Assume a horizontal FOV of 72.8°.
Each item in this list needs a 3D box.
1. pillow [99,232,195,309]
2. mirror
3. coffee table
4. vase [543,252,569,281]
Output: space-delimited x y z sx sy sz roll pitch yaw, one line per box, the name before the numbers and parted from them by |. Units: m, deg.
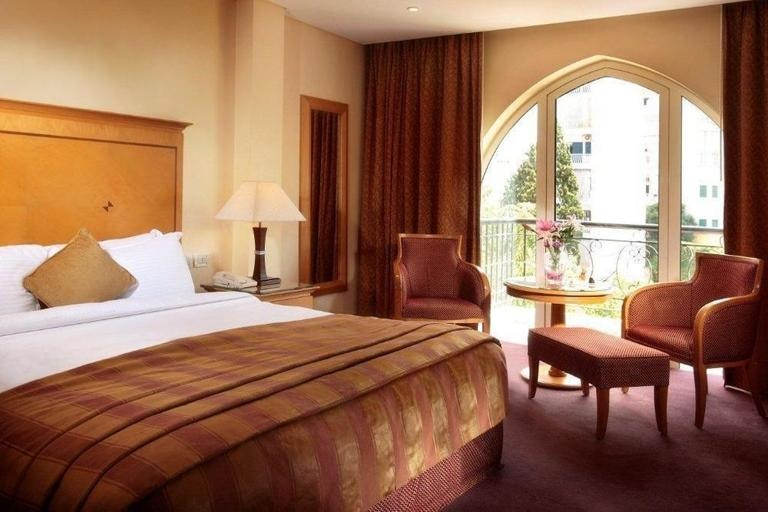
pillow | -1.675 0.098 3.871 0.530 0.484 0.155 -15 -6 -44
mirror | -0.679 -0.666 5.930 0.410 2.214 0.942 11 16 31
coffee table | 1.626 0.692 5.038 0.936 0.789 0.931 -4 5 -44
vase | 1.691 0.101 4.960 0.245 0.271 0.249 2 -3 -34
